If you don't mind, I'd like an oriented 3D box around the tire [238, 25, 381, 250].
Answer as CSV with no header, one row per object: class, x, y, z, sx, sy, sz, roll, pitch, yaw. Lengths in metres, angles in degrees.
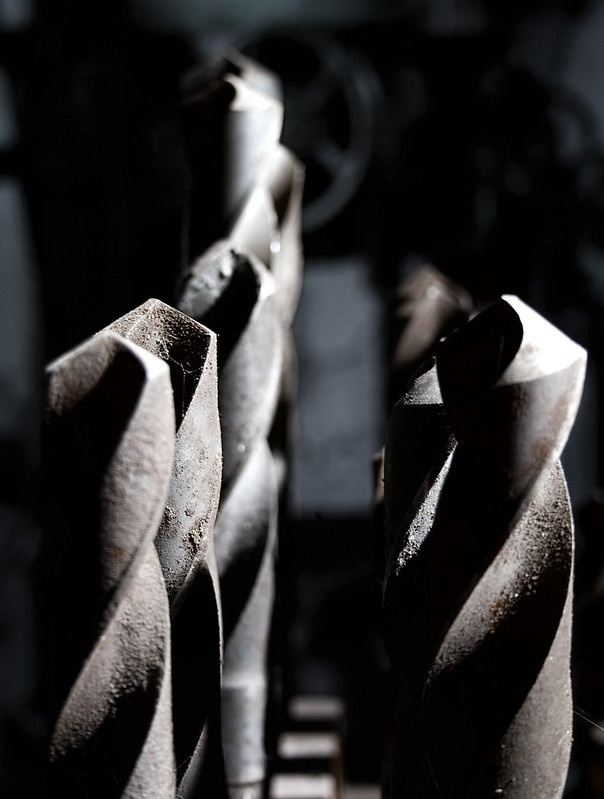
tire,-0.004,-0.144,0.651,0.105,0.092,0.023,58,-3,-18
